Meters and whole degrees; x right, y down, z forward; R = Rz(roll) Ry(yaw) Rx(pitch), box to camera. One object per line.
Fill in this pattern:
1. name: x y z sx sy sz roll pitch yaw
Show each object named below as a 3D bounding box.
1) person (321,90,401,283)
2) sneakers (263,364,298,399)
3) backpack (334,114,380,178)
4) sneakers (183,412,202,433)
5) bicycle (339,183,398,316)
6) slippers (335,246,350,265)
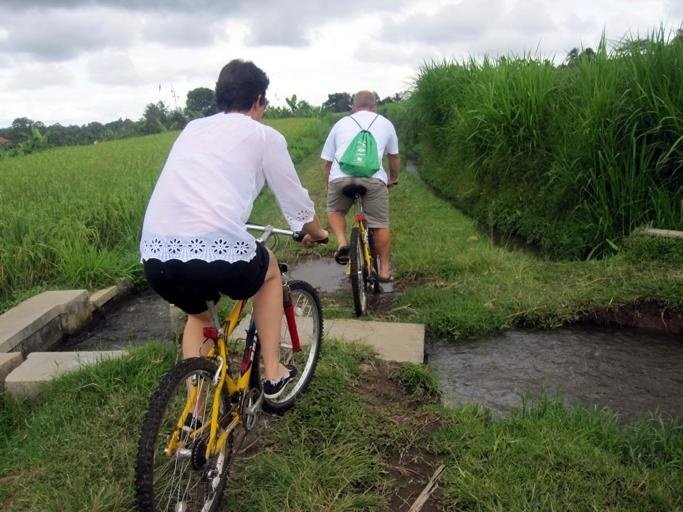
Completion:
1. person: 0.272 -0.993 7.774 1.357 2.568 1.071 9 -8 -43
2. sneakers: -0.498 1.035 4.747 0.133 0.189 0.401 8 31 21
3. backpack: 0.263 -1.472 7.234 0.480 0.965 0.390 8 1 -3
4. sneakers: -1.063 1.192 3.989 0.110 0.126 0.085 1 10 18
5. bicycle: 0.278 -0.113 7.265 0.445 1.617 1.171 -1 13 8
6. slippers: 0.016 0.001 7.290 0.213 0.303 0.643 2 -4 1
